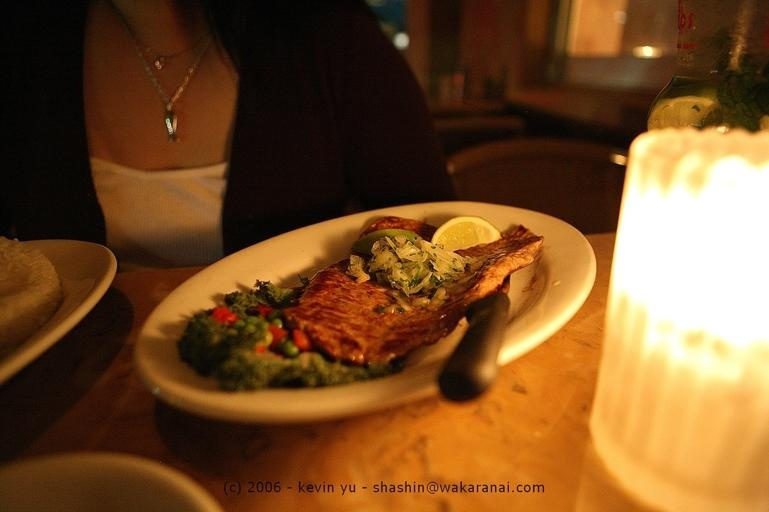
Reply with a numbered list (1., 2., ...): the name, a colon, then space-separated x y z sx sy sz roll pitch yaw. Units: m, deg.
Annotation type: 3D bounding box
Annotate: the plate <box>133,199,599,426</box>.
1. plate: -0.141 0.098 1.570 0.988 0.510 1.209 1 11 38
